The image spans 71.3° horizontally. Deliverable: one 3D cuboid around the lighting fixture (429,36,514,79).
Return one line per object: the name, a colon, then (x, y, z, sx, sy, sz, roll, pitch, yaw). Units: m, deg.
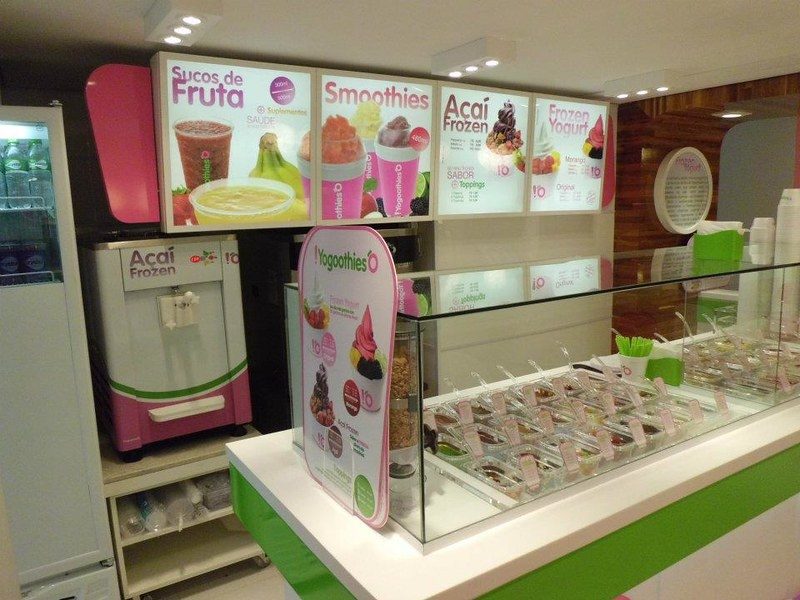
lighting fixture: (0.407, -1.353, 3.112, 0.233, 0.130, 0.489, -11, 17, -36)

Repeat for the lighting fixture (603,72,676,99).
lighting fixture: (1.667, -1.514, 3.899, 0.222, 0.120, 0.495, -8, 16, -29)
